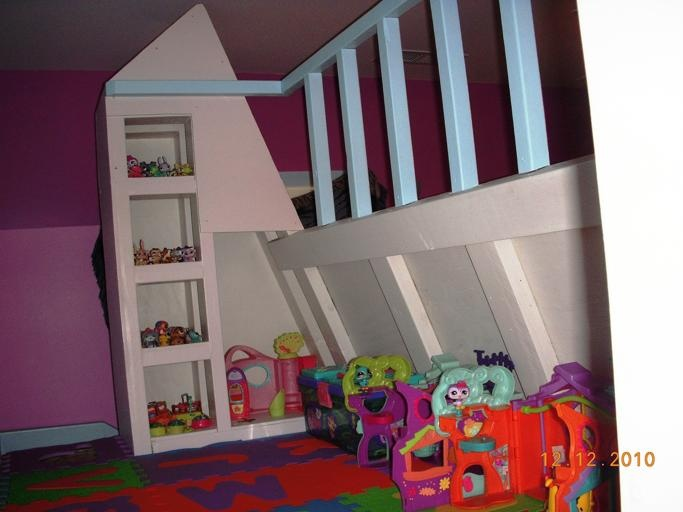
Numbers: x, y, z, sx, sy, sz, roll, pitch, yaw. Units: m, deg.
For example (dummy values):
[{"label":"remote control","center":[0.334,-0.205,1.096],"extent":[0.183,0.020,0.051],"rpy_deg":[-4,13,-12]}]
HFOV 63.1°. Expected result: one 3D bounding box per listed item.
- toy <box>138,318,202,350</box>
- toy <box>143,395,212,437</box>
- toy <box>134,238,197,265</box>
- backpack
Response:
[{"label":"toy","center":[-1.277,0.579,4.202],"extent":[0.437,0.167,0.530],"rpy_deg":[-4,-4,-20]},{"label":"toy","center":[-1.228,1.221,4.198],"extent":[0.333,0.156,0.465],"rpy_deg":[-1,1,-23]},{"label":"toy","center":[-1.291,-0.027,4.153],"extent":[0.462,0.193,0.313],"rpy_deg":[-4,-4,-10]},{"label":"backpack","center":[-0.040,-0.450,4.673],"extent":[0.723,0.515,0.198],"rpy_deg":[-16,-8,17]}]
